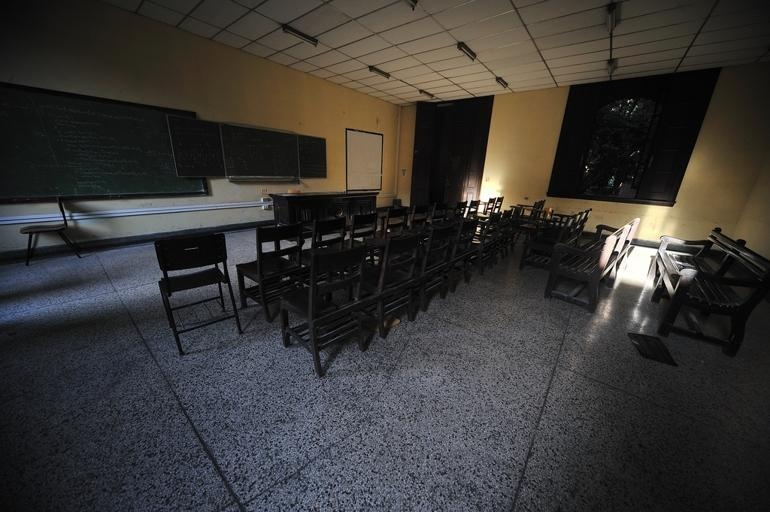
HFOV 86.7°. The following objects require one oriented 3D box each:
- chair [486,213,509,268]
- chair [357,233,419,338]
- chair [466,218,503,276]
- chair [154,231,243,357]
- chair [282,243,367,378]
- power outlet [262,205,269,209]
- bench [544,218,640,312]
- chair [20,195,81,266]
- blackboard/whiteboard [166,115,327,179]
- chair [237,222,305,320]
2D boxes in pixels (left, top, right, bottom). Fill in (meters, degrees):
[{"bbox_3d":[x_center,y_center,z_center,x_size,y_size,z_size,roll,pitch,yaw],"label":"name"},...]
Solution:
[{"bbox_3d":[1.904,-0.284,6.934,0.299,0.590,0.775,22,34,38],"label":"chair"},{"bbox_3d":[0.041,0.419,5.167,0.799,1.282,0.808,-18,35,-33],"label":"chair"},{"bbox_3d":[1.592,-0.148,6.583,0.555,0.891,0.589,-21,35,-32],"label":"chair"},{"bbox_3d":[-2.452,0.308,5.263,0.872,1.415,1.222,-4,19,-29],"label":"chair"},{"bbox_3d":[-0.733,0.696,4.880,0.889,1.513,0.957,-19,40,-38],"label":"chair"},{"bbox_3d":[-2.571,-1.031,8.641,0.135,0.121,0.069,-4,50,-13],"label":"power outlet"},{"bbox_3d":[3.170,0.164,6.250,0.446,0.573,1.347,21,38,37],"label":"bench"},{"bbox_3d":[-5.429,-0.425,6.541,0.748,0.930,0.719,-3,13,-20],"label":"chair"},{"bbox_3d":[-2.563,-2.122,8.352,3.423,1.205,0.050,-7,1,-43],"label":"blackboard/whiteboard"},{"bbox_3d":[-1.551,0.236,5.486,0.841,1.421,0.865,-19,40,-40],"label":"chair"}]
